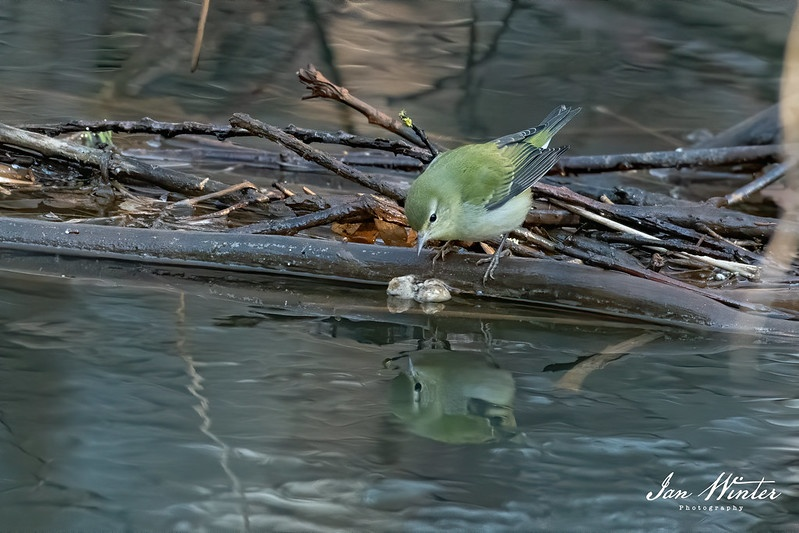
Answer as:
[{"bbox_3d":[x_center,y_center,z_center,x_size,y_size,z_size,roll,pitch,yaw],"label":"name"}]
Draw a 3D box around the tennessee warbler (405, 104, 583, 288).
[{"bbox_3d":[0.700,-0.770,7.492,0.859,1.709,0.700,29,-33,32],"label":"tennessee warbler"}]
